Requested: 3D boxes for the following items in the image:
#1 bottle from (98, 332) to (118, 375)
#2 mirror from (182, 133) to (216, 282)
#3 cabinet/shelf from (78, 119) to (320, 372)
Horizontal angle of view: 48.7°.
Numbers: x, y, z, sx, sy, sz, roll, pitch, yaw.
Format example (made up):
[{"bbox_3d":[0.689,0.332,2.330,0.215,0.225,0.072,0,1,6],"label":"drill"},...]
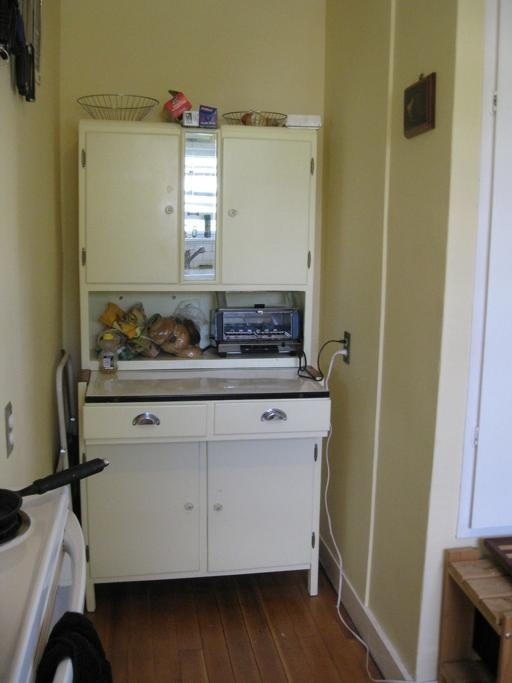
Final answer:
[{"bbox_3d":[-0.611,0.042,2.349,0.075,0.165,0.134,-1,6,-17],"label":"bottle"},{"bbox_3d":[-0.230,-0.544,2.362,0.134,0.758,0.018,-5,49,-9],"label":"mirror"},{"bbox_3d":[-0.242,-0.419,2.347,0.757,1.054,0.292,-1,4,-10],"label":"cabinet/shelf"}]
